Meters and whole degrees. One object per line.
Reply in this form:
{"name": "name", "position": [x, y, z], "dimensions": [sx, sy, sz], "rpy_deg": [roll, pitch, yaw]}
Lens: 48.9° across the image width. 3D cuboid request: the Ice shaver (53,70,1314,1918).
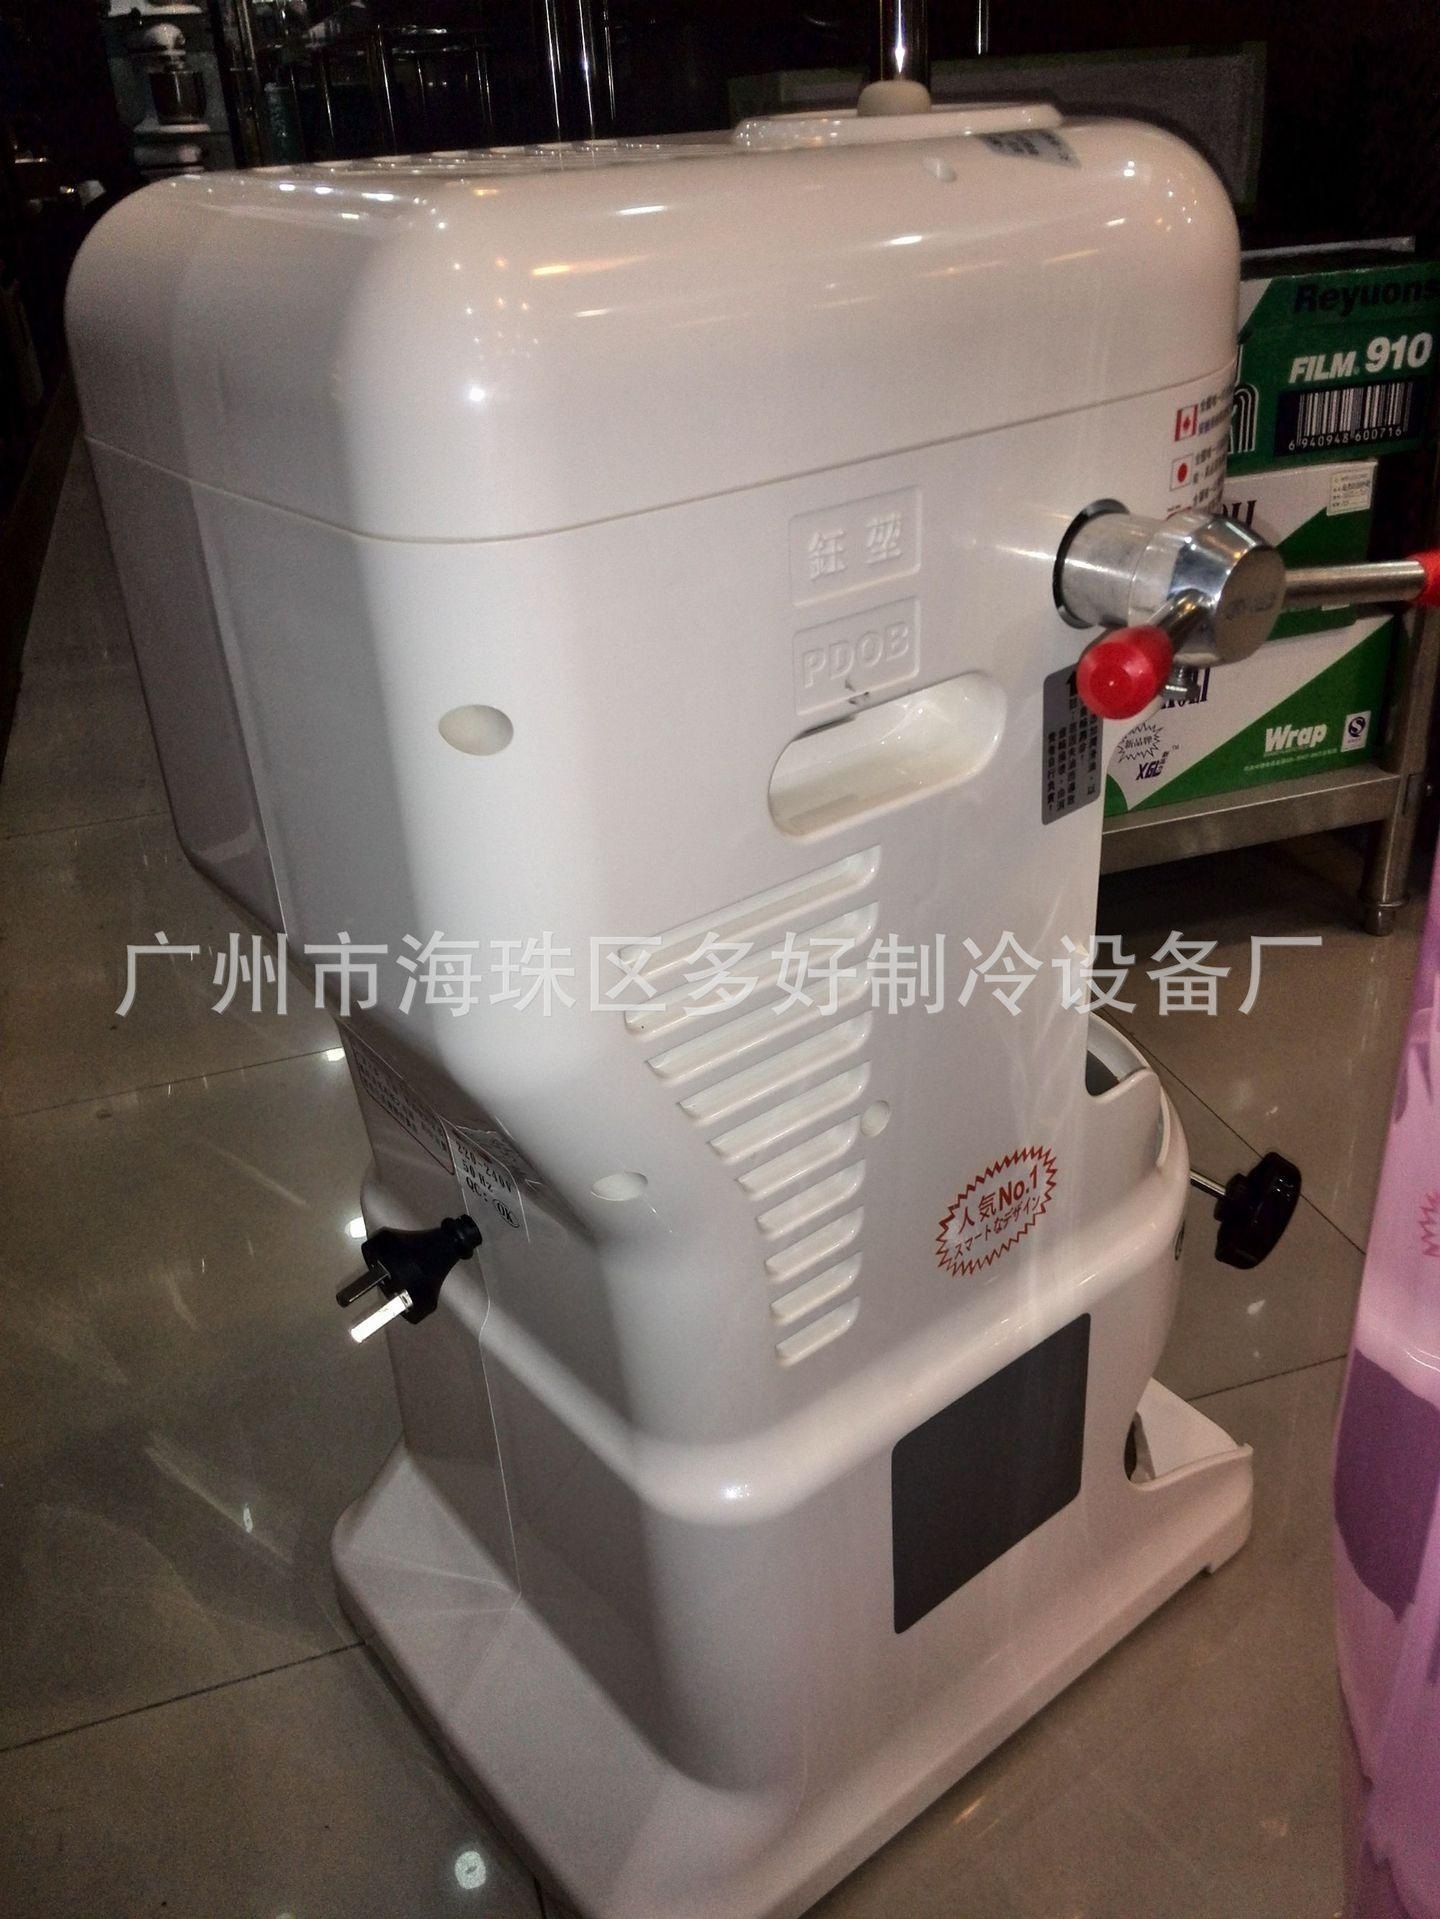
{"name": "Ice shaver", "position": [0.031, 0.074, 0.672], "dimensions": [0.474, 0.763, 0.262], "rpy_deg": [-13, 32, -14]}
